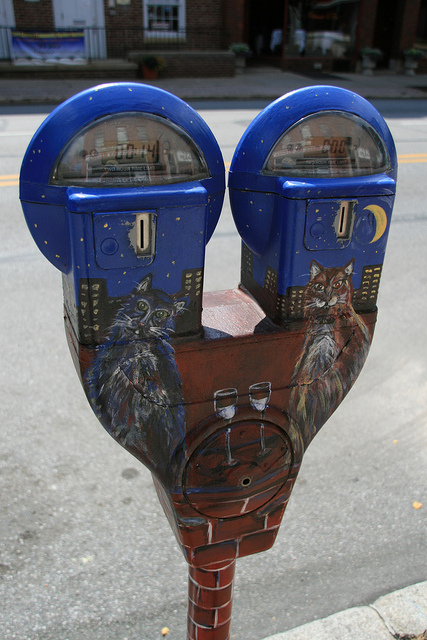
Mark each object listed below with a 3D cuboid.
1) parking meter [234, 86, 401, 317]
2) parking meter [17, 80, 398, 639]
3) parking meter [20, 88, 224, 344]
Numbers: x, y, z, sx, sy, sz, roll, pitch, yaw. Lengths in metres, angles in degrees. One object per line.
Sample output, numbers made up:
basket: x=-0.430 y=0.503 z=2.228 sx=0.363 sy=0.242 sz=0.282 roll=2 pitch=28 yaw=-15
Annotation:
parking meter: x=0.247 y=-0.279 z=1.519 sx=0.388 sy=0.558 sz=0.332 roll=6 pitch=29 yaw=8
parking meter: x=0.026 y=0.239 z=1.695 sx=0.819 sy=1.679 sz=0.424 roll=-19 pitch=35 yaw=-33
parking meter: x=-0.181 y=-0.219 z=1.341 sx=0.458 sy=0.536 sz=0.245 roll=-6 pitch=30 yaw=-15
